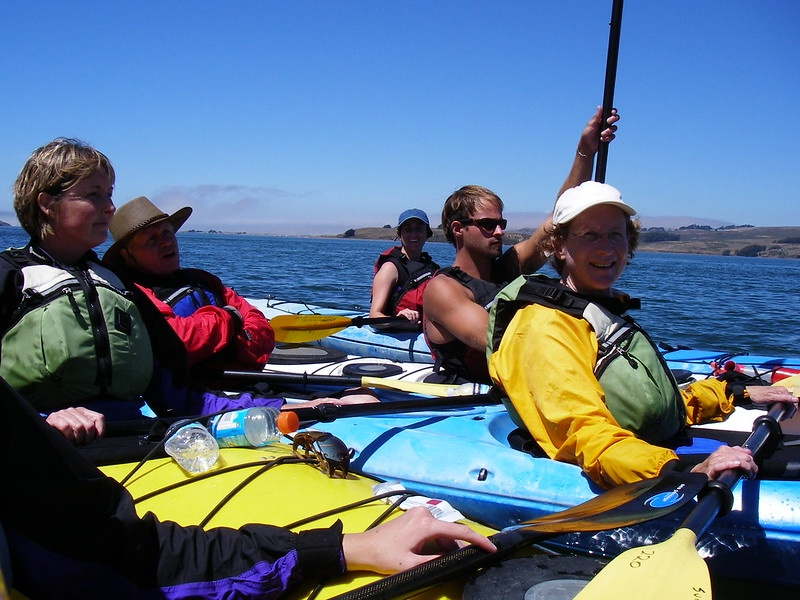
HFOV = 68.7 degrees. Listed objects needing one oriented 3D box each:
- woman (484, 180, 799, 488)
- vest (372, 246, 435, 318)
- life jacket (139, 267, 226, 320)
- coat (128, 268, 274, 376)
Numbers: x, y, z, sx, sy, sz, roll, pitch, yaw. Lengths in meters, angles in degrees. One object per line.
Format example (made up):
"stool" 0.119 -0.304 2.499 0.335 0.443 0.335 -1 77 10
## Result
"woman" 0.806 0.209 2.637 1.227 1.090 1.582 -10 -3 23
"vest" 0.209 -0.192 6.394 0.674 0.794 0.715 -7 0 39
"life jacket" -1.343 -0.033 3.760 0.321 0.159 0.419 -28 -10 -22
"coat" -1.339 0.106 3.401 0.443 0.227 0.582 -41 -9 -42
